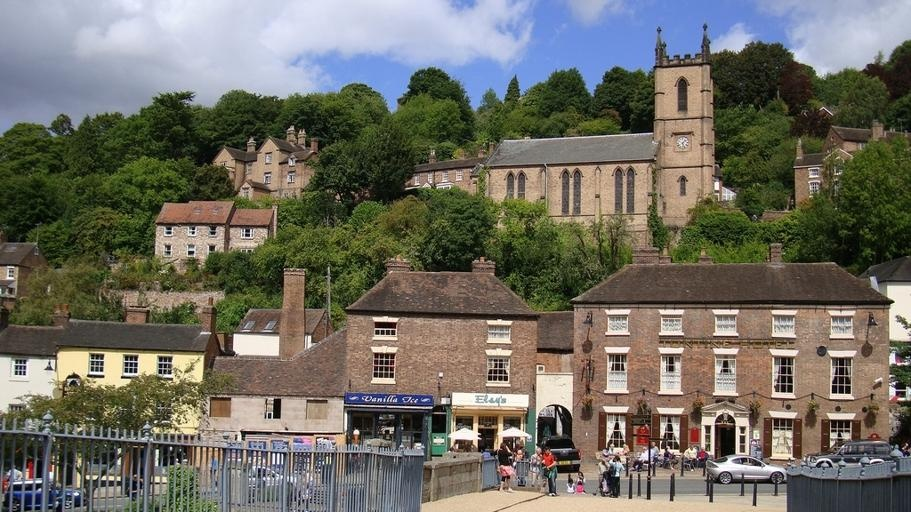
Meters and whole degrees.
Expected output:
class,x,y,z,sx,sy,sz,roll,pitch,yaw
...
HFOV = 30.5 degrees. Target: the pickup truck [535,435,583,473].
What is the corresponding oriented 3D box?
class,x,y,z,sx,sy,sz,roll,pitch,yaw
pickup truck,9.963,18.785,158.509,3.119,2.561,6.997,0,-3,-4
